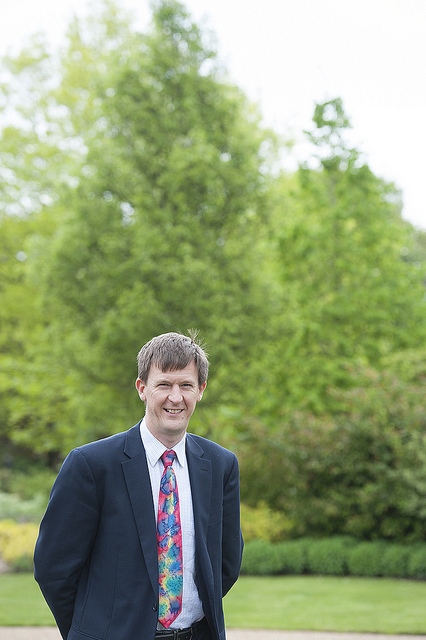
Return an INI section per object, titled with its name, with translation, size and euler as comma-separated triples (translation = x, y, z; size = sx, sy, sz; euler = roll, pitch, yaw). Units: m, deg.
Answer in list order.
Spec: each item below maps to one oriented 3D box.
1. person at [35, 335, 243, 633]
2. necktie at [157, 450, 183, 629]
[person]
translation = -0.268, 0.676, 3.179
size = 0.881, 1.227, 0.420
euler = 4, -9, -13
[necktie]
translation = -0.178, 0.879, 3.047
size = 0.113, 0.684, 0.119
euler = 5, -10, -18
